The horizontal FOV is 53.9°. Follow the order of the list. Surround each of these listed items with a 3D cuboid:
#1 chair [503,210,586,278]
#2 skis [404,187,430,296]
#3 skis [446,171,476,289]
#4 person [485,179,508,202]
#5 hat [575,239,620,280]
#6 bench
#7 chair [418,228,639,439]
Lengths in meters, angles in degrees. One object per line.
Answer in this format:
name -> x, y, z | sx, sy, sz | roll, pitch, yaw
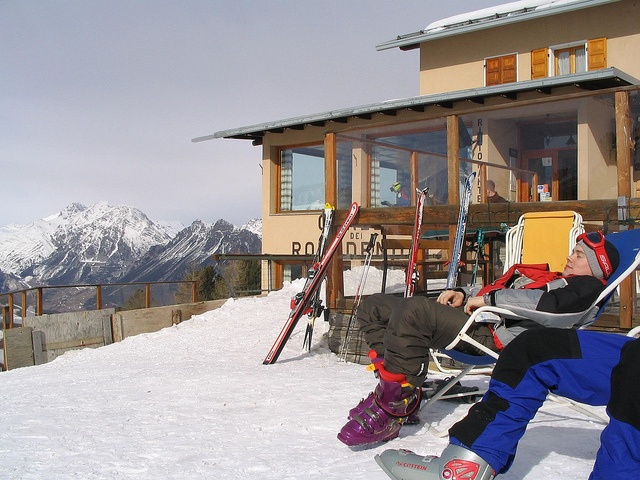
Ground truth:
chair -> 2.275, -0.009, 6.397 | 0.562, 0.767, 0.711 | 5, 10, 37
skis -> 1.362, -0.008, 8.790 | 0.197, 1.880, 0.266 | 0, -17, 36
skis -> 1.679, -0.029, 7.409 | 0.173, 1.480, 0.161 | 19, 17, 41
person -> 3.161, -0.890, 11.313 | 0.299, 0.464, 0.881 | -1, -2, 16
hat -> 2.144, 0.149, 4.850 | 0.295, 0.322, 0.115 | -2, -2, 24
bench -> 1.524, 0.353, 9.237 | 1.257, 0.748, 0.436 | -4, -6, -8
chair -> 1.729, 0.745, 5.536 | 2.113, 1.906, 1.380 | -4, -2, -4
